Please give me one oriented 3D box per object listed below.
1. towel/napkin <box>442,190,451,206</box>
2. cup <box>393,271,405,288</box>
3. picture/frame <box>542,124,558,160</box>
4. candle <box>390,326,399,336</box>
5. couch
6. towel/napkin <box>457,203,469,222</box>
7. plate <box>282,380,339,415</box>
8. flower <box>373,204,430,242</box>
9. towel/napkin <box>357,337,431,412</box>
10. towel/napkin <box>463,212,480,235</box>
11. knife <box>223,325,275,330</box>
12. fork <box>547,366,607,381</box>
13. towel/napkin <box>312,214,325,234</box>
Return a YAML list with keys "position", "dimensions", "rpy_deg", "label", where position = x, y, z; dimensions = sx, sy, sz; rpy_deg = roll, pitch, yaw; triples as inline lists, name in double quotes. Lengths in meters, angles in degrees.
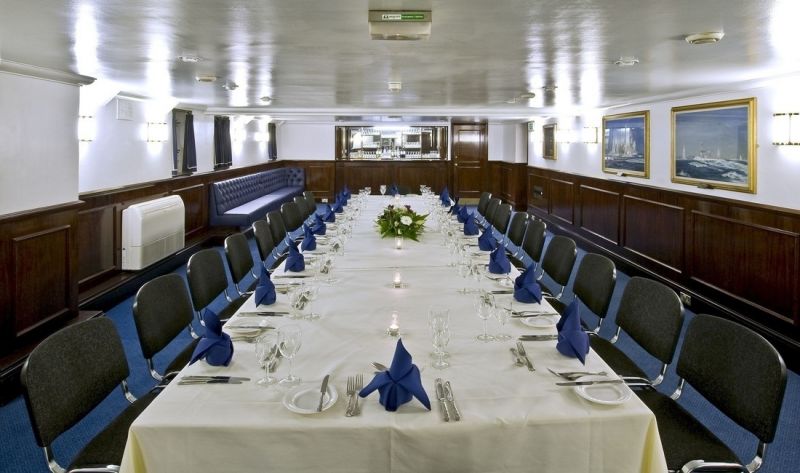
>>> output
- position: [0.853, -0.721, 9.275]
  dimensions: [0.099, 0.309, 0.236]
  rpy_deg: [-6, -15, 36]
  label: "towel/napkin"
- position: [-0.022, 0.438, 4.776]
  dimensions: [0.124, 0.135, 0.121]
  rpy_deg: [1, -2, 0]
  label: "cup"
- position: [3.555, -2.267, 11.666]
  dimensions: [0.058, 0.836, 0.840]
  rpy_deg: [7, 15, 39]
  label: "picture/frame"
- position: [-0.043, 0.754, 3.890]
  dimensions: [0.073, 0.044, 0.072]
  rpy_deg: [2, 3, -14]
  label: "candle"
- position: [-3.337, -1.118, 12.450]
  dimensions: [0.933, 1.001, 4.434]
  rpy_deg: [3, 14, 7]
  label: "couch"
- position: [0.961, -0.344, 7.399]
  dimensions: [0.200, 0.280, 0.281]
  rpy_deg: [2, -5, 2]
  label: "towel/napkin"
- position: [-0.593, 1.093, 3.273]
  dimensions: [0.357, 0.109, 0.218]
  rpy_deg: [1, 11, -6]
  label: "plate"
- position: [-0.045, -0.169, 6.345]
  dimensions: [0.717, 0.366, 0.656]
  rpy_deg: [2, -9, 8]
  label: "flower"
- position: [-0.022, 0.949, 3.296]
  dimensions: [0.481, 0.449, 0.331]
  rpy_deg: [9, 4, 15]
  label: "towel/napkin"
- position: [0.945, -0.123, 6.781]
  dimensions: [0.192, 0.302, 0.312]
  rpy_deg: [1, -11, 5]
  label: "towel/napkin"
- position: [-1.211, 0.738, 3.953]
  dimensions: [0.376, 0.029, 0.029]
  rpy_deg: [0, 0, -4]
  label: "knife"
- position: [1.256, 0.982, 3.476]
  dimensions: [0.446, 0.087, 0.050]
  rpy_deg: [-1, 4, 3]
  label: "fork"
- position: [-1.091, -0.162, 6.704]
  dimensions: [0.249, 0.322, 0.322]
  rpy_deg: [-1, -2, -4]
  label: "towel/napkin"
